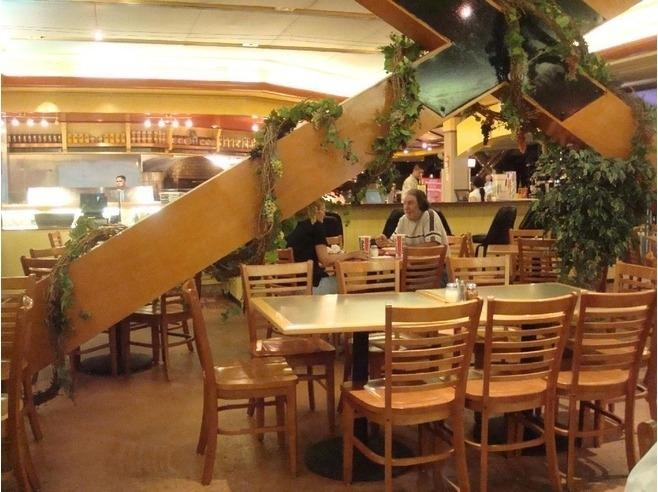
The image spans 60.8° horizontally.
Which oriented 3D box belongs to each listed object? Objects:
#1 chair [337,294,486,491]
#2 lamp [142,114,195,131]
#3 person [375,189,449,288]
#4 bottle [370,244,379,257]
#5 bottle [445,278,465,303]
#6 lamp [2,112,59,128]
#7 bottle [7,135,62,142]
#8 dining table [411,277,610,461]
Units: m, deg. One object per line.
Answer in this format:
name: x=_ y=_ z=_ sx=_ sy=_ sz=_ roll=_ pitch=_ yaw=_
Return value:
chair: x=0.486 y=0.911 z=3.375 sx=0.812 sy=1.255 sz=0.504 roll=-1 pitch=11 yaw=-1
lamp: x=-3.175 y=-2.450 z=11.187 sx=0.947 sy=0.229 sz=0.703 roll=-4 pitch=10 yaw=-15
person: x=0.993 y=0.016 z=6.238 sx=0.833 sy=1.235 sz=0.732 roll=-6 pitch=3 yaw=-23
bottle: x=0.425 y=0.051 z=5.489 sx=0.103 sy=0.120 sz=0.106 roll=0 pitch=-2 yaw=27
bottle: x=0.915 y=0.318 z=3.974 sx=0.167 sy=0.173 sz=0.103 roll=0 pitch=1 yaw=41
lamp: x=-5.567 y=-2.347 z=10.479 sx=1.013 sy=0.261 sz=0.708 roll=-2 pitch=10 yaw=-9
bottle: x=-5.578 y=-2.050 z=10.686 sx=0.871 sy=0.151 sz=0.329 roll=-6 pitch=11 yaw=-29
dining table: x=1.343 y=0.971 z=4.454 sx=1.624 sy=1.149 sz=0.976 roll=-3 pitch=11 yaw=-11
